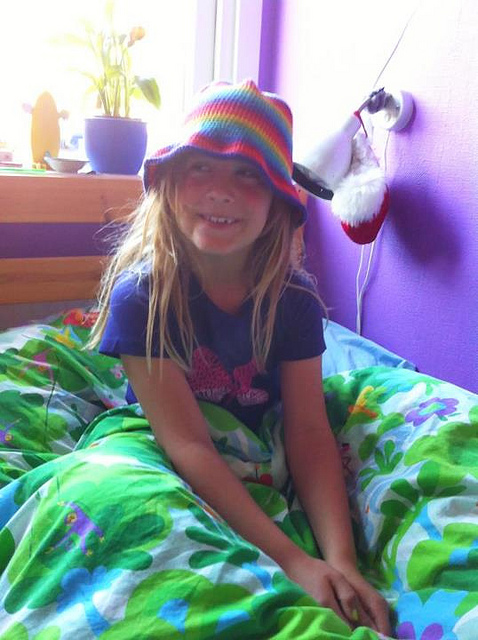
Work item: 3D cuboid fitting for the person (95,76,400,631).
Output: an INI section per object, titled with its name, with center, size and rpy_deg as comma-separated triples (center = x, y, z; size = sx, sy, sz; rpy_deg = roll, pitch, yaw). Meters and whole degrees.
[person]
center = -0.031, -0.063, 0.886
size = 0.321, 0.473, 0.889
rpy_deg = -6, 45, -14

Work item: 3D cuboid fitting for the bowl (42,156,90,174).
[bowl]
center = -0.564, -0.496, 1.620
size = 0.159, 0.049, 0.108
rpy_deg = 10, 21, 22

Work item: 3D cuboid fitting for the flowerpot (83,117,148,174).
[flowerpot]
center = -0.418, -0.612, 1.743
size = 0.200, 0.211, 0.248
rpy_deg = 2, 21, -6
